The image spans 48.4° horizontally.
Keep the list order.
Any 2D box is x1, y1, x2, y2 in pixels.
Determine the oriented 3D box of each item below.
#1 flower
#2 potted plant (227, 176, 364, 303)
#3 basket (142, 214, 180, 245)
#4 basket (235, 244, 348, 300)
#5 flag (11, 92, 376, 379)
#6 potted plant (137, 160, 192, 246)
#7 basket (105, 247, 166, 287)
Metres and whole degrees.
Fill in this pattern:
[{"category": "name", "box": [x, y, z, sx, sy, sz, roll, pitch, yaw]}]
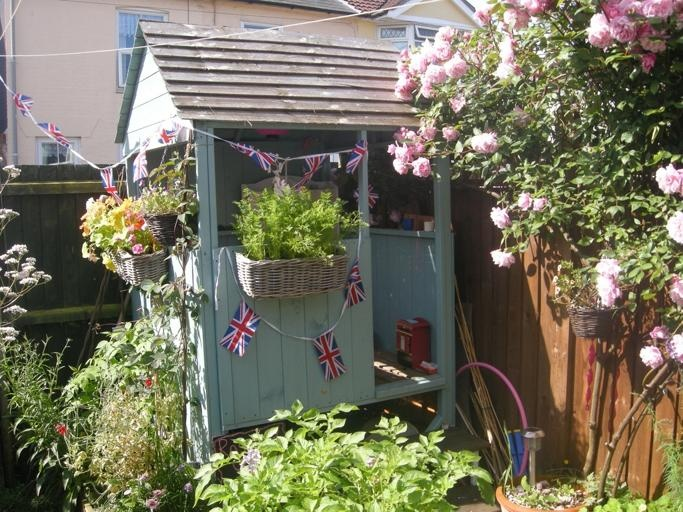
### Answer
[{"category": "flower", "box": [-1.691, -0.209, 5.741, 0.480, 0.412, 0.495, -5, -5, -30]}, {"category": "potted plant", "box": [-0.331, -0.091, 5.237, 0.882, 1.065, 0.642, -2, -1, -27]}, {"category": "basket", "box": [-1.274, -0.205, 5.328, 0.193, 0.182, 0.207, 2, 4, 37]}, {"category": "basket", "box": [-0.365, 0.101, 5.029, 0.479, 0.222, 0.374, -2, 2, -24]}, {"category": "flag", "box": [-1.311, 0.706, 6.521, 2.833, 3.312, 1.544, 6, 0, -40]}, {"category": "potted plant", "box": [-1.281, -0.328, 5.444, 0.338, 0.448, 0.351, -2, -3, -39]}, {"category": "basket", "box": [-1.491, 0.027, 5.549, 0.340, 0.204, 0.277, -5, 7, -35]}]
